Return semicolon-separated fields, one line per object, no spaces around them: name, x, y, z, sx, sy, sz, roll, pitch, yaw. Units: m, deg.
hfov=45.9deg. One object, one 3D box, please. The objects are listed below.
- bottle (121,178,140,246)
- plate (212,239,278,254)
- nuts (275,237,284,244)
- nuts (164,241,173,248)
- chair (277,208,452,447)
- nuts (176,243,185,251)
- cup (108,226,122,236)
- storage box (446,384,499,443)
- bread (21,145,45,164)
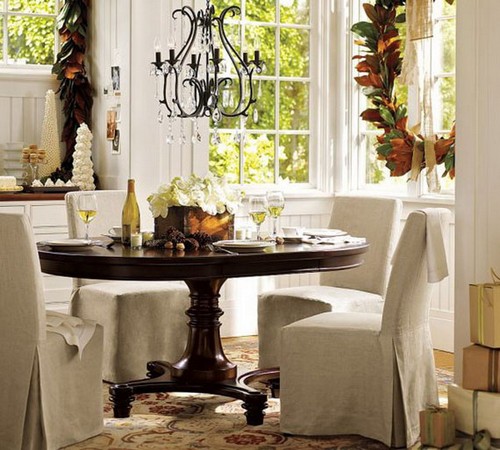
bottle;-0.567;-0.069;2.749;0.082;0.305;0.249;-3;0;-9
plate;-0.026;0.086;2.563;0.271;0.051;0.373;-4;0;2
nuts;0.135;0.064;2.743;0.033;0.016;0.027;0;6;-20
nuts;-0.350;0.079;2.515;0.027;0.024;0.027;-6;10;-41
chair;0.548;0.447;2.983;0.844;1.278;0.756;1;0;25
nuts;-0.297;0.087;2.495;0.040;0.034;0.043;-3;0;-11
cup;-0.689;0.025;2.984;0.069;0.037;0.051;-6;4;-14
storage box;0.836;0.686;2.196;0.147;0.168;0.117;2;0;42
bread;-1.632;-0.534;4.416;0.136;0.109;0.147;0;2;-4
